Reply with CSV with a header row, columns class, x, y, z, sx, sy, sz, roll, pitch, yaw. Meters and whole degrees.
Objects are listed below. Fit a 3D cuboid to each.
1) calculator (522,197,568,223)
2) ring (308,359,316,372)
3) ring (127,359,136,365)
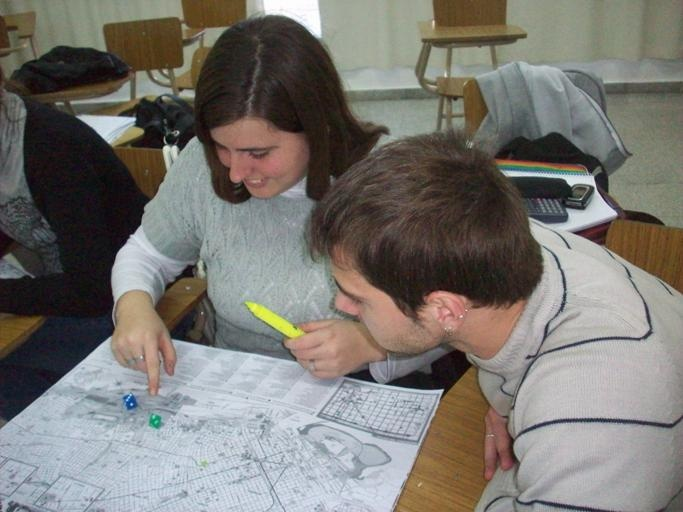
class,x,y,z,sx,sy,sz,roll,pitch,yaw
calculator,0.632,-0.144,1.622,0.139,0.037,0.152,3,39,11
ring,-0.060,0.233,1.116,0.017,0.019,0.019,-2,-22,12
ring,-0.459,0.230,1.156,0.013,0.010,0.013,2,5,0
